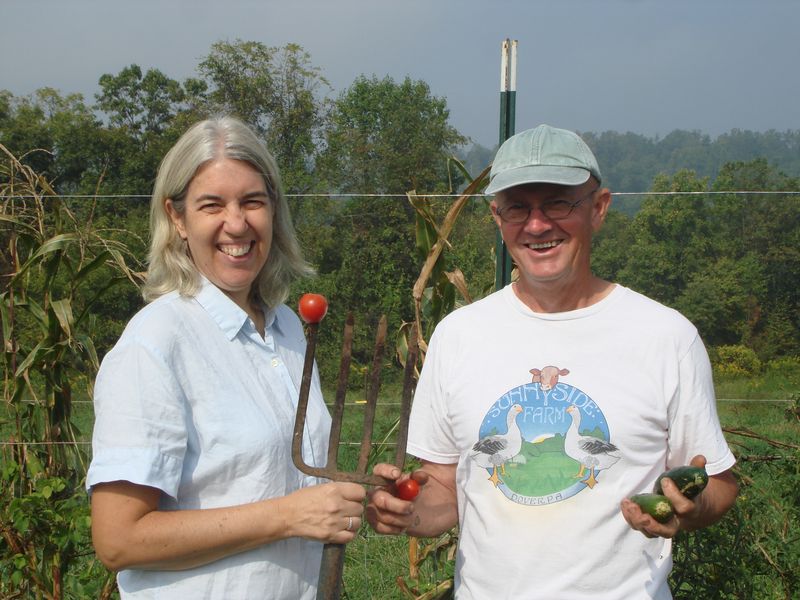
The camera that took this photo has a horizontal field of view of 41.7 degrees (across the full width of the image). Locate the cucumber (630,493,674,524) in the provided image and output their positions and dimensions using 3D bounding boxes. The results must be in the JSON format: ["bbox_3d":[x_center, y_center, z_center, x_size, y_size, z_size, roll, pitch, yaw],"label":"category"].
[{"bbox_3d":[1.196,0.992,5.004,0.204,0.127,0.136,0,6,17],"label":"cucumber"}]

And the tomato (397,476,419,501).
[{"bbox_3d":[0.033,0.931,5.193,0.091,0.110,0.094,6,10,-1],"label":"tomato"}]

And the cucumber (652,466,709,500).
[{"bbox_3d":[1.349,0.883,5.042,0.229,0.166,0.170,-1,5,3],"label":"cucumber"}]

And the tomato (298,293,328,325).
[{"bbox_3d":[-0.427,0.046,5.110,0.133,0.159,0.132,1,-3,-39],"label":"tomato"}]
